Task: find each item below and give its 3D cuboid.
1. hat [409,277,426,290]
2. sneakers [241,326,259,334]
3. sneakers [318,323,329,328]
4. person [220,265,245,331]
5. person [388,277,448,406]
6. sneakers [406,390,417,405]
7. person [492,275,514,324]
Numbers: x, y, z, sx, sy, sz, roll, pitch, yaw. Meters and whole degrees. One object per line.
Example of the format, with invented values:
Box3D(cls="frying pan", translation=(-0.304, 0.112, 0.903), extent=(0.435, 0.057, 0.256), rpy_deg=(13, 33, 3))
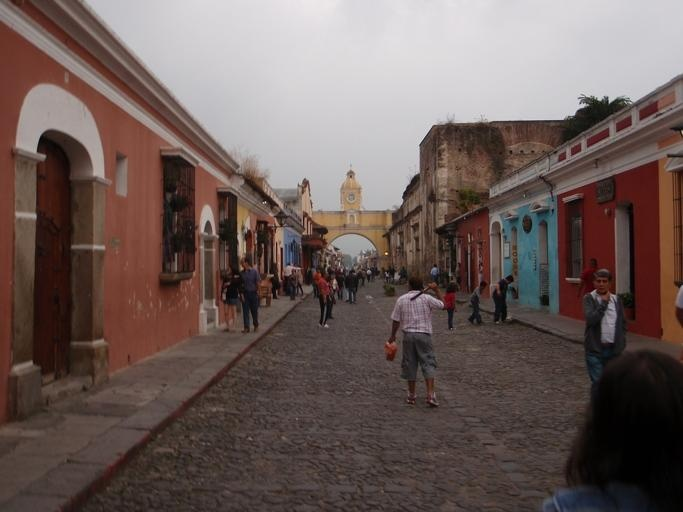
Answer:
Box3D(cls="hat", translation=(1.064, 0.363, 7.463), extent=(0.137, 0.208, 0.189), rpy_deg=(2, 12, 3))
Box3D(cls="sneakers", translation=(-2.291, 1.838, 13.320), extent=(0.464, 0.264, 0.175), rpy_deg=(3, -5, -2))
Box3D(cls="sneakers", translation=(-0.494, 1.960, 15.125), extent=(0.229, 0.127, 0.101), rpy_deg=(1, 0, 3))
Box3D(cls="person", translation=(-2.902, 1.080, 13.955), extent=(0.473, 1.668, 1.826), rpy_deg=(0, 1, -13))
Box3D(cls="person", translation=(1.108, 1.124, 7.949), extent=(0.815, 1.705, 1.975), rpy_deg=(0, 1, 9))
Box3D(cls="sneakers", translation=(0.953, 1.869, 7.252), extent=(0.146, 0.175, 0.339), rpy_deg=(0, 1, 7))
Box3D(cls="person", translation=(5.072, 1.402, 16.687), extent=(0.649, 1.868, 0.801), rpy_deg=(-1, 16, 6))
